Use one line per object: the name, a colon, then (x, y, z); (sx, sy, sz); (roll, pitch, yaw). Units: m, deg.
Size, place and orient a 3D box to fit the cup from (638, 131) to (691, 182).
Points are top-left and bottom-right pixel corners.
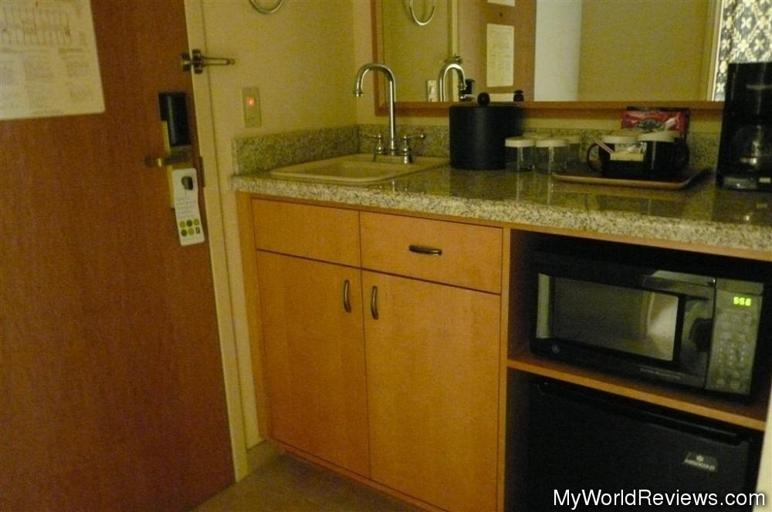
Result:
cup: (0.928, -0.336, 2.097); (0.193, 0.193, 0.149); (4, 15, 25)
